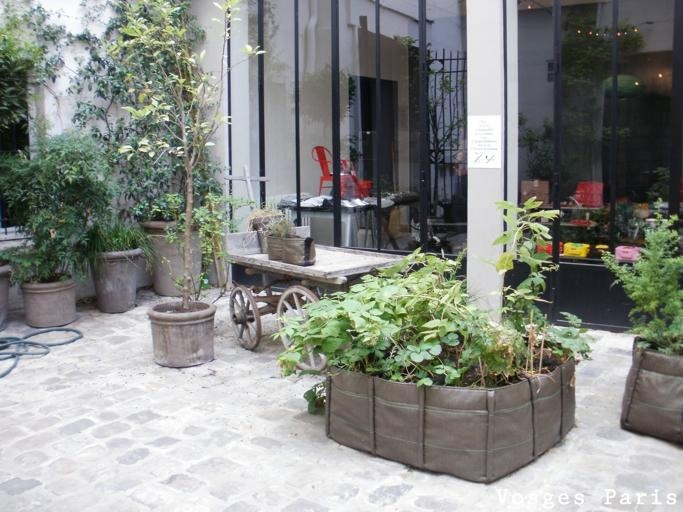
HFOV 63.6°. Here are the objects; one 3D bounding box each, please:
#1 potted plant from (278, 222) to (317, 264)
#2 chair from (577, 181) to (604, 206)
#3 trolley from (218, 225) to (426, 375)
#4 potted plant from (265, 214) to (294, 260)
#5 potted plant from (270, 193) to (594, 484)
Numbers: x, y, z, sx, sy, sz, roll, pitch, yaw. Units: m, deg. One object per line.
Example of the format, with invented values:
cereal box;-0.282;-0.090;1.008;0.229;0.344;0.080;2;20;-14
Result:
potted plant;-0.419;-0.095;5.534;0.445;0.319;0.261;3;5;43
chair;2.832;-0.711;6.280;0.223;0.314;0.300;-3;2;-44
trolley;-0.235;0.389;5.895;1.437;1.241;2.197;-5;3;-35
potted plant;-0.633;-0.228;5.695;0.366;0.522;0.470;1;5;-1
potted plant;0.658;0.407;4.342;2.190;1.676;1.746;4;11;37
